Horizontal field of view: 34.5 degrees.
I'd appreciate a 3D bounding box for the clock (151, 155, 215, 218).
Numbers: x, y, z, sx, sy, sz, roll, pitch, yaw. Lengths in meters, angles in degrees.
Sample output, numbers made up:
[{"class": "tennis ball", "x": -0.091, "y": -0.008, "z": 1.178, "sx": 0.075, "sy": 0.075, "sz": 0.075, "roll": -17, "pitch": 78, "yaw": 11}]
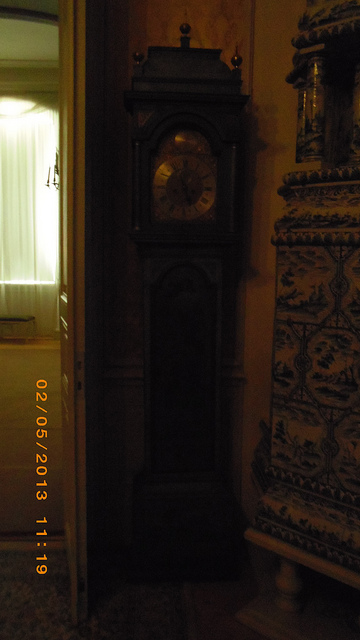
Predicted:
[{"class": "clock", "x": 0.000, "y": -0.484, "z": 2.083, "sx": 0.157, "sy": 0.213, "sz": 0.020, "roll": 1, "pitch": 1, "yaw": -3}]
